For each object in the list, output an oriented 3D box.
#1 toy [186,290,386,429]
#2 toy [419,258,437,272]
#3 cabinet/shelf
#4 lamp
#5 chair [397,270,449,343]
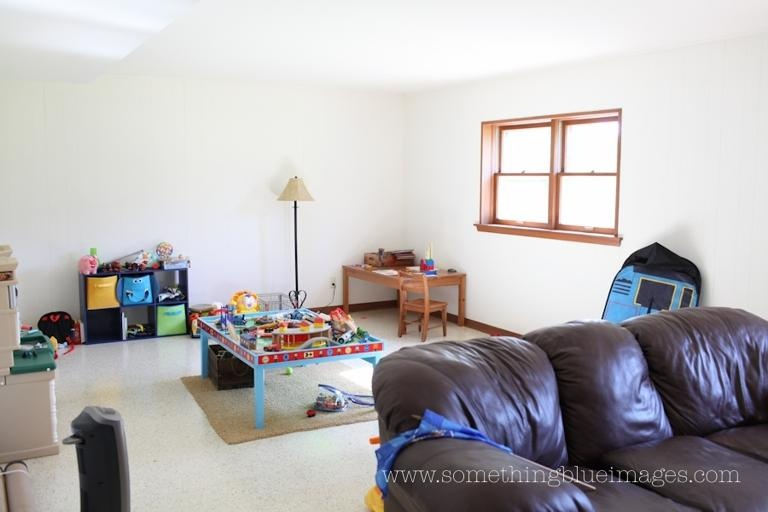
[{"bbox_3d":[-0.793,0.767,4.846,1.067,0.541,1.541,-1,5,-31],"label":"toy"},{"bbox_3d":[0.587,0.136,7.164,0.203,0.199,0.197,0,-5,2],"label":"toy"},{"bbox_3d":[-3.152,0.600,6.561,1.052,0.668,0.331,-1,2,-30],"label":"cabinet/shelf"},{"bbox_3d":[-1.234,-0.169,7.326,0.453,1.840,0.567,-1,12,-8],"label":"lamp"},{"bbox_3d":[0.513,0.631,6.869,0.604,0.820,0.600,2,3,26],"label":"chair"}]
